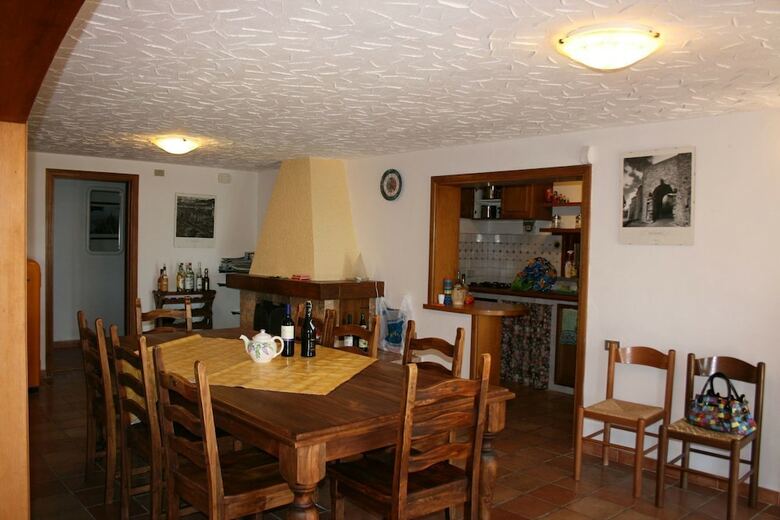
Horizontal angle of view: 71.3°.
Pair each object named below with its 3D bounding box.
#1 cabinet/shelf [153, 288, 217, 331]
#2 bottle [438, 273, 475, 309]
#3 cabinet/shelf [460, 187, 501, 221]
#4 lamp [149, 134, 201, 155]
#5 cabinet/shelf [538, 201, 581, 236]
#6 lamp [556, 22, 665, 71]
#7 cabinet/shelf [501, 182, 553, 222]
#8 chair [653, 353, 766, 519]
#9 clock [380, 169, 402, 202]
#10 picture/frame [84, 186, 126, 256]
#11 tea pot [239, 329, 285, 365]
[{"bbox_3d":[-2.550,0.589,6.701,0.666,0.547,0.306,-1,0,-30],"label":"cabinet/shelf"},{"bbox_3d":[0.806,0.361,6.054,0.452,0.373,0.287,2,-2,-19],"label":"bottle"},{"bbox_3d":[1.450,-0.840,8.070,0.566,0.458,0.407,2,6,16],"label":"cabinet/shelf"},{"bbox_3d":[-2.196,-1.197,5.578,0.482,0.153,0.349,0,5,-15],"label":"lamp"},{"bbox_3d":[2.361,-0.620,7.444,0.286,0.415,0.534,-27,14,-18],"label":"cabinet/shelf"},{"bbox_3d":[1.268,-1.193,3.203,0.562,0.167,0.540,3,7,-36],"label":"lamp"},{"bbox_3d":[1.876,-0.825,7.629,0.414,0.503,0.578,-1,5,-35],"label":"cabinet/shelf"},{"bbox_3d":[2.411,1.279,4.080,0.664,1.070,0.751,5,7,33],"label":"chair"},{"bbox_3d":[0.021,-0.899,6.457,0.066,0.377,0.328,-4,8,-41],"label":"clock"},{"bbox_3d":[-4.291,-0.589,8.218,0.466,0.973,0.168,0,6,-16],"label":"picture/frame"},{"bbox_3d":[-0.863,0.582,3.718,0.281,0.184,0.197,3,6,-1],"label":"tea pot"}]
